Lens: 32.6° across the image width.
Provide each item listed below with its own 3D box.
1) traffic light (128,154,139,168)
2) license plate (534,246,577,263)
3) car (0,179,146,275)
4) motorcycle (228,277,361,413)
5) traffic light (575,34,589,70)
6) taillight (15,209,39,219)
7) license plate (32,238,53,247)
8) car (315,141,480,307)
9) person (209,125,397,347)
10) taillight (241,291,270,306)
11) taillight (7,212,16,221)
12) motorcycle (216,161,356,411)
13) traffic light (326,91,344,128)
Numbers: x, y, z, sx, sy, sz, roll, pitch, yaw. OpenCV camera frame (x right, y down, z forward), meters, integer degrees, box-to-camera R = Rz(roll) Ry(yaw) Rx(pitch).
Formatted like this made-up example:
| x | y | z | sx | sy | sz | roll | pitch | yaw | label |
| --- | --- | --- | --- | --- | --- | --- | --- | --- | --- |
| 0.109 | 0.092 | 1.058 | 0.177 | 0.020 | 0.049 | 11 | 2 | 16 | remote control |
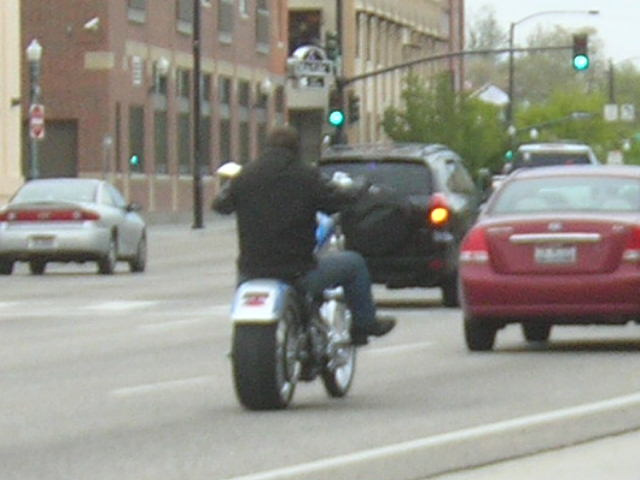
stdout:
| x | y | z | sx | sy | sz | roll | pitch | yaw | label |
| --- | --- | --- | --- | --- | --- | --- | --- | --- | --- |
| -7.132 | -3.006 | 41.885 | 0.354 | 0.502 | 1.014 | 1 | 5 | -6 | traffic light |
| 2.182 | 0.125 | 10.194 | 0.383 | 0.152 | 0.057 | 2 | 5 | 9 | license plate |
| -4.460 | -0.261 | 21.477 | 1.553 | 1.304 | 3.002 | -1 | 0 | 9 | car |
| -0.167 | 0.714 | 7.706 | 1.111 | 0.937 | 0.373 | -4 | 7 | -43 | motorcycle |
| 8.176 | -5.866 | 34.445 | 0.411 | 1.073 | 0.917 | 2 | 5 | 13 | traffic light |
| -5.393 | -0.486 | 20.210 | 0.425 | 0.181 | 0.058 | 2 | 5 | 9 | taillight |
| -5.098 | 0.032 | 20.171 | 0.356 | 0.163 | 0.046 | 1 | 5 | -2 | license plate |
| 1.212 | -0.356 | 14.571 | 1.371 | 1.340 | 2.654 | 0 | 3 | 9 | car |
| -0.220 | 0.036 | 8.026 | 1.068 | 1.675 | 1.178 | -4 | 4 | 20 | person |
| -0.432 | 0.386 | 7.364 | 0.167 | 0.088 | 0.068 | 2 | 5 | 9 | taillight |
| -5.699 | -0.448 | 20.265 | 0.181 | 0.142 | 0.018 | 3 | 6 | 16 | taillight |
| -0.287 | 0.576 | 8.126 | 0.868 | 1.185 | 1.738 | 0 | 4 | 18 | motorcycle |
| 0.415 | -3.512 | 29.566 | 0.444 | 0.984 | 1.022 | 1 | 5 | -1 | traffic light |
